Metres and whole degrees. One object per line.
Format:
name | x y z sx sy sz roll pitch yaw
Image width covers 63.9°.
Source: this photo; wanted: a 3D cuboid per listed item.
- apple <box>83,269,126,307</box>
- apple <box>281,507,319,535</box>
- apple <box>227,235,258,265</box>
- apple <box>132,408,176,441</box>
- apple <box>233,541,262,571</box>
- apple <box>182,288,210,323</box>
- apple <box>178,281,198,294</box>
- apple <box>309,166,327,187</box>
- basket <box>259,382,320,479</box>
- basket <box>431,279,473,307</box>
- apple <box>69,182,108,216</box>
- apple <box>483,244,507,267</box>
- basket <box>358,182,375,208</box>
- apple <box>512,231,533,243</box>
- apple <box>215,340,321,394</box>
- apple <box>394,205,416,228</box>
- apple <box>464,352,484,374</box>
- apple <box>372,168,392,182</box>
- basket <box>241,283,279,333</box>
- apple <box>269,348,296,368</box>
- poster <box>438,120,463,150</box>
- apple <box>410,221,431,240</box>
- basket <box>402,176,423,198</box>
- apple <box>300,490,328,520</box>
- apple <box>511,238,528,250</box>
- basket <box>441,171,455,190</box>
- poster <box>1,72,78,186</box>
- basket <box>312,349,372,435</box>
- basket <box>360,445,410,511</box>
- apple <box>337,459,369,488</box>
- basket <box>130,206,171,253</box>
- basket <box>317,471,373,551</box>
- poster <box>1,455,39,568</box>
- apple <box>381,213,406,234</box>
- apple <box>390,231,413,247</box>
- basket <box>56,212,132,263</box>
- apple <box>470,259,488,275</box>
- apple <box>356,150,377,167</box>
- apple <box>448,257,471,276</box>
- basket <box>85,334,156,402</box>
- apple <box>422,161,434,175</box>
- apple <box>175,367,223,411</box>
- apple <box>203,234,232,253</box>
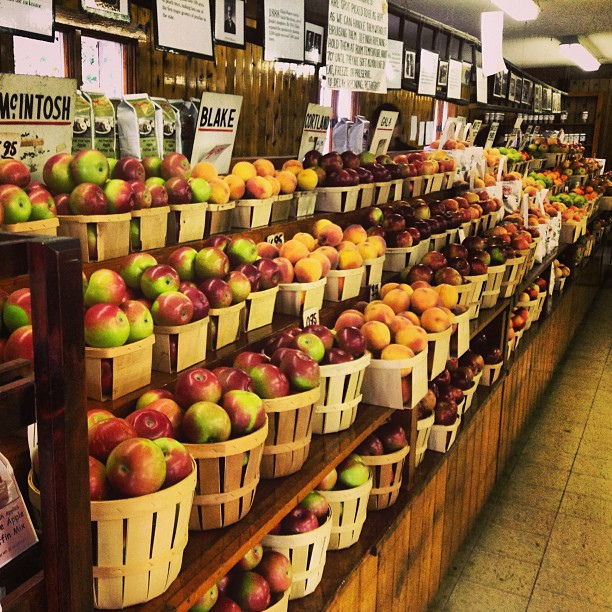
apple | -0.515 -0.065 1.247 0.104 0.125 0.101 -3 -4 -15
apple | -0.015 0.624 1.420 0.072 0.076 0.075 0 -14 1
apple | -0.217 -0.194 1.666 0.085 0.088 0.073 2 14 11
apple | -0.300 0.225 0.993 0.059 0.061 0.060 -22 -3 0
apple | -0.141 0.661 1.282 0.085 0.075 0.033 -11 17 -37
apple | -0.297 -0.008 1.425 0.081 0.084 0.097 8 -3 -25
apple | -0.342 -0.065 1.429 0.042 0.042 0.043 -4 24 -4
apple | 0.083 -0.647 2.407 0.087 0.093 0.093 -7 20 27
basket | -0.043 0.335 1.373 0.193 0.185 0.216 -1 6 -4
basket | 0.805 -0.077 2.641 0.181 0.140 0.186 0 3 3
apple | -0.554 -0.277 1.261 0.083 0.090 0.088 32 25 33
apple | 1.182 -0.330 3.122 0.130 0.168 0.134 -4 -6 -26
basket | 0.324 -0.599 2.596 0.114 0.103 0.134 3 11 22
apple | 1.553 -0.525 3.546 0.107 0.113 0.111 -7 -1 -7
apple | -0.103 0.145 1.318 0.146 0.083 0.201 4 -2 17
apple | 0.575 -0.536 2.849 0.116 0.150 0.121 -6 3 33
apple | 1.063 0.341 3.107 0.116 0.147 0.121 -8 9 11
apple | 0.416 -0.736 2.737 0.093 0.097 0.090 0 -5 -18
basket | -0.153 -0.006 1.695 0.134 0.120 0.155 7 15 34
apple | -0.071 0.141 1.415 0.049 0.051 0.052 -3 14 1
poster | 1.335 -1.631 4.575 0.132 0.289 0.681 4 15 22
apple | 0.649 -0.446 2.811 0.102 0.098 0.102 -3 9 -15
basket | 0.665 -0.756 3.099 0.136 0.118 0.156 0 6 3
apple | 0.032 0.605 1.540 0.086 0.084 0.088 -8 9 -10
apple | 1.459 -0.440 3.368 0.090 0.092 0.090 3 17 -33
basket | 1.041 -0.948 3.621 0.112 0.116 0.139 5 8 40
poster | -0.688 -0.461 1.264 0.006 0.312 0.312 17 24 17
basket | 0.119 0.277 1.635 0.213 0.194 0.232 1 5 2
basket | 0.290 0.647 1.887 0.203 0.187 0.216 -1 -1 1
apple | 0.160 0.568 1.704 0.084 0.088 0.083 -3 2 -26
basket | -0.467 -0.236 1.527 0.126 0.118 0.156 8 12 41
basket | 0.131 0.698 1.673 0.155 0.145 0.172 -3 -19 23
poster | -0.383 0.273 0.650 0.035 0.136 0.083 -7 14 -25
apple | 0.442 -0.442 2.565 0.091 0.100 0.223 11 18 41
apple | 0.500 -0.360 2.574 0.084 0.086 0.089 0 12 34
basket | -0.554 -0.195 1.339 0.082 0.128 0.206 7 16 30
apple | 0.979 -0.233 2.788 0.106 0.081 0.057 -2 13 -5
apple | 0.349 -0.845 2.757 0.089 0.090 0.241 5 15 23
apple | 0.847 -0.232 2.687 0.093 0.101 0.120 3 9 1
basket | -0.451 0.139 1.211 0.111 0.100 0.153 11 17 25
apple | 0.796 -0.928 3.215 0.068 0.087 0.137 4 15 20
apple | -0.249 0.187 1.138 0.091 0.095 0.092 3 23 -17
apple | -0.293 -0.202 1.643 0.064 0.073 0.070 20 -2 -14
